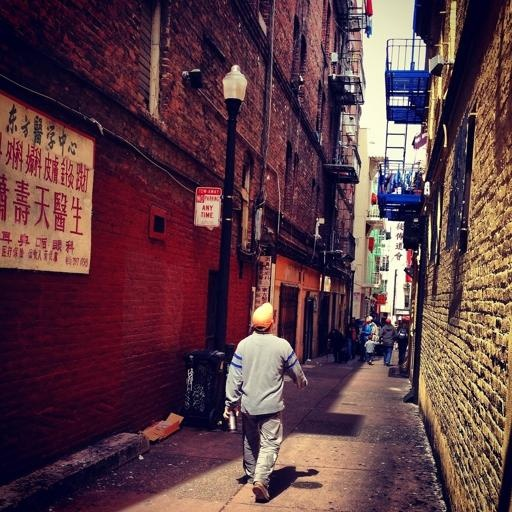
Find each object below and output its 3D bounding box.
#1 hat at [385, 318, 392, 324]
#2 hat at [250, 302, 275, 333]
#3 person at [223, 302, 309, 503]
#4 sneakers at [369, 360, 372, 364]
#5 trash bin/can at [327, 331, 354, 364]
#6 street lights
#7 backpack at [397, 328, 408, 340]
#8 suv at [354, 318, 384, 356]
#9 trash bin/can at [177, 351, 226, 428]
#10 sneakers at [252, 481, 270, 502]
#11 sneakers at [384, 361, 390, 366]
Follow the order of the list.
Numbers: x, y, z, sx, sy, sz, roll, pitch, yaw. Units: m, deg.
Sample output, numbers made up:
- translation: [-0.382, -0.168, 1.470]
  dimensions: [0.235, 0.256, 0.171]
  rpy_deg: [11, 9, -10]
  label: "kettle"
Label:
- translation: [5.694, 2.796, 22.450]
  dimensions: [0.170, 0.271, 0.260]
  rpy_deg: [-1, -5, 2]
  label: "hat"
- translation: [0.099, 0.673, 5.861]
  dimensions: [0.174, 0.352, 0.170]
  rpy_deg: [-3, -34, 27]
  label: "hat"
- translation: [0.093, 1.497, 5.586]
  dimensions: [0.853, 2.000, 0.840]
  rpy_deg: [0, -4, -5]
  label: "person"
- translation: [5.260, 4.869, 24.075]
  dimensions: [0.091, 0.173, 0.403]
  rpy_deg: [1, 0, 13]
  label: "sneakers"
- translation: [3.951, 4.222, 24.300]
  dimensions: [0.806, 2.270, 0.793]
  rpy_deg: [-3, 23, 16]
  label: "trash bin/can"
- translation: [-0.418, -0.821, 8.269]
  dimensions: [0.402, 4.562, 0.678]
  rpy_deg: [1, -4, -25]
  label: "street lights"
- translation: [6.813, 3.662, 24.589]
  dimensions: [0.361, 0.697, 0.515]
  rpy_deg: [-3, -7, 42]
  label: "backpack"
- translation: [5.893, 4.309, 27.405]
  dimensions: [1.238, 1.244, 3.236]
  rpy_deg: [-13, 29, 16]
  label: "suv"
- translation: [-0.818, 2.094, 8.548]
  dimensions: [0.730, 1.516, 0.946]
  rpy_deg: [1, -1, 6]
  label: "trash bin/can"
- translation: [0.049, 2.332, 5.176]
  dimensions: [0.152, 0.209, 0.228]
  rpy_deg: [-1, -5, 3]
  label: "sneakers"
- translation: [5.883, 4.734, 23.429]
  dimensions: [0.233, 0.332, 0.160]
  rpy_deg: [0, -15, 8]
  label: "sneakers"
